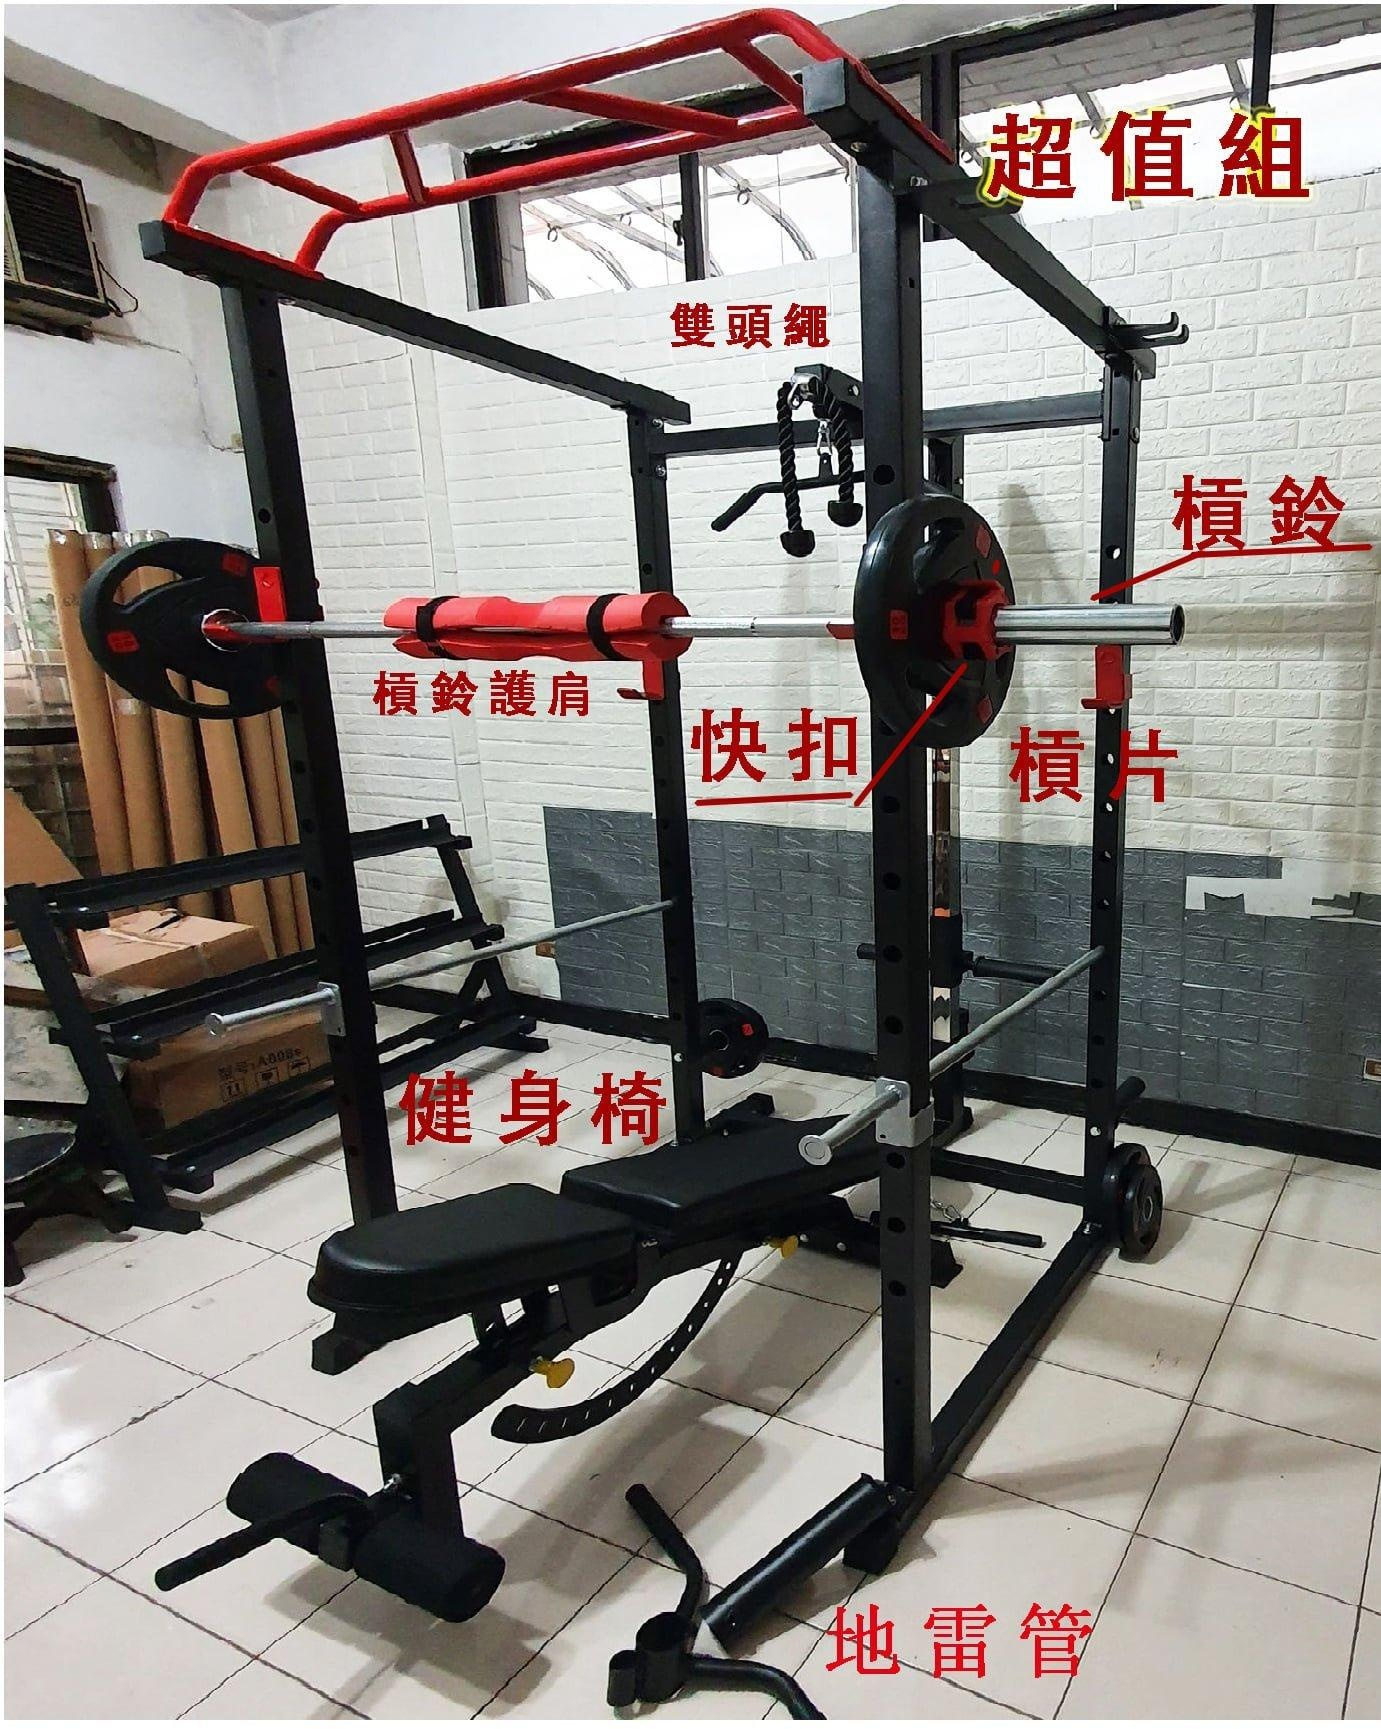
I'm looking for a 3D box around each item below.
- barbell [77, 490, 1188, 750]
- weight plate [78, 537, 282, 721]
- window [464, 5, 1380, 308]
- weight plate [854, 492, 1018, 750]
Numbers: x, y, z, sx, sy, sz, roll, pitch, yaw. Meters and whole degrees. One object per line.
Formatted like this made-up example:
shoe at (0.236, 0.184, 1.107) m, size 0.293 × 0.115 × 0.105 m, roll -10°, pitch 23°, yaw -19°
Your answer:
barbell at (-0.140, -0.345, 1.974) m, size 1.713 × 0.310 × 0.351 m, roll 5°, pitch 8°, yaw 25°
weight plate at (-0.846, -0.393, 2.268) m, size 0.402 × 0.327 × 0.117 m, roll 6°, pitch 12°, yaw 9°
window at (0.586, -1.519, 2.874) m, size 2.317 × 0.510 × 0.044 m, roll 2°, pitch 39°, yaw 21°
weight plate at (0.305, -0.306, 1.731) m, size 0.161 × 0.322 × 0.366 m, roll 7°, pitch 19°, yaw 41°
